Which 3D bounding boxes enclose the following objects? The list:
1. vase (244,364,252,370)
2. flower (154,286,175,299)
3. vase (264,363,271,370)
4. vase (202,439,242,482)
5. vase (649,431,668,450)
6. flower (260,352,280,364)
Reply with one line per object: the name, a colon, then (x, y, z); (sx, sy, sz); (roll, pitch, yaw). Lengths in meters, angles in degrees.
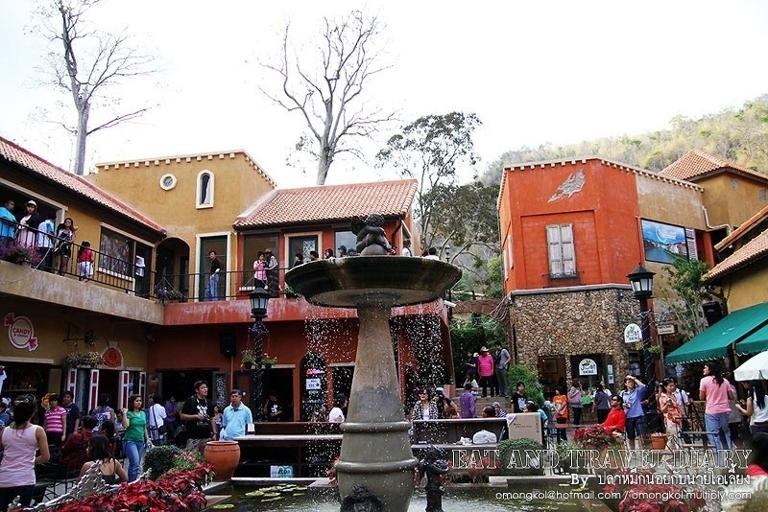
vase: (-4.929, 3.987, 20.516); (0.313, 0.236, 0.315); (-5, -13, 19)
flower: (-8.326, 1.367, 21.448); (0.501, 0.364, 0.448); (2, -8, 7)
vase: (-4.294, 4.043, 20.848); (0.252, 0.193, 0.249); (-11, -15, 30)
vase: (-3.505, 4.367, 12.101); (0.817, 0.806, 0.814); (-10, -17, 29)
vase: (5.739, 3.871, 11.954); (0.421, 0.317, 0.427); (1, 0, 10)
flower: (-4.269, 3.802, 20.982); (0.429, 0.457, 0.421); (3, 1, 27)
